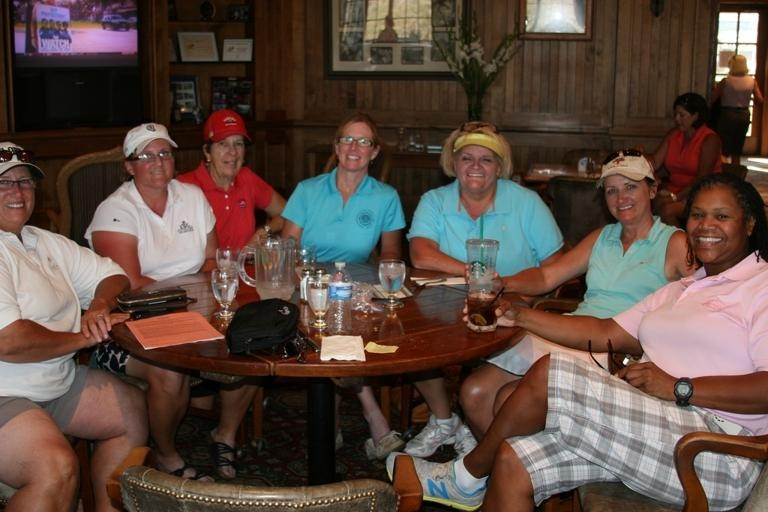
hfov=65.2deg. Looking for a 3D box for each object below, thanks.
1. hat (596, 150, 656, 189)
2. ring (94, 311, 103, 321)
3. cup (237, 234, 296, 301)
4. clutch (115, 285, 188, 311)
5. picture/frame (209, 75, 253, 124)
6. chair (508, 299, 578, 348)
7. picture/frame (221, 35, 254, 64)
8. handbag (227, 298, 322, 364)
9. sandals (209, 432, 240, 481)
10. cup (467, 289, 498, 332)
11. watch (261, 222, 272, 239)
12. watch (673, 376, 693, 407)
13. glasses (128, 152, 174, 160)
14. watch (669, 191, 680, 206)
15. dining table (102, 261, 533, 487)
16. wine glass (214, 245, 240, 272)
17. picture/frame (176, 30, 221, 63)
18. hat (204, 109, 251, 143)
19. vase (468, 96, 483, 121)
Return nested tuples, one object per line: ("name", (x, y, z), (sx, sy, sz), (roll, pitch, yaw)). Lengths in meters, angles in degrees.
("hat", (1.103, -0.402, 2.749), (0.162, 0.106, 0.218), (-6, -4, 37))
("ring", (-1.086, 0.225, 2.287), (0.025, 0.010, 0.029), (3, 20, -2))
("cup", (-0.537, 0.053, 2.523), (0.334, 0.311, 0.201), (-1, 8, -12))
("clutch", (-0.942, 0.173, 2.455), (0.211, 0.052, 0.115), (-4, 15, -21))
("picture/frame", (-1.650, -1.664, 6.596), (0.621, 0.534, 0.140), (-5, 11, -24))
("chair", (0.664, 0.288, 2.530), (0.220, 0.288, 0.181), (12, 15, 36))
("picture/frame", (-1.581, -2.229, 6.521), (0.305, 0.200, 0.295), (0, 3, 0))
("handbag", (-0.380, 0.246, 2.077), (0.258, 0.073, 0.188), (3, 26, 1))
("sandals", (-0.804, 1.002, 3.055), (0.094, 0.080, 0.265), (0, 27, -34))
("cup", (0.359, 0.199, 2.215), (0.139, 0.138, 0.131), (-1, 4, 0))
("watch", (-0.649, -0.141, 3.364), (0.073, 0.093, 0.089), (-6, 4, 5))
("watch", (1.039, 0.466, 2.083), (0.064, 0.094, 0.092), (8, -2, 20))
("glasses", (-1.161, -0.499, 3.022), (0.106, 0.027, 0.089), (-7, 2, -3))
("watch", (2.618, -0.523, 5.420), (0.076, 0.101, 0.110), (-16, 23, -2))
("dining table", (-0.098, 0.347, 2.487), (1.037, 0.616, 0.996), (0, 9, -2))
("wine glass", (-0.669, 0.007, 2.557), (0.113, 0.117, 0.107), (2, 5, -6))
("picture/frame", (-1.969, -2.199, 6.311), (0.425, 0.339, 0.033), (-5, -5, -44))
("hat", (-1.001, -0.794, 3.719), (0.199, 0.137, 0.278), (-3, 7, -28))
("vase", (0.888, -1.420, 5.811), (0.110, 0.221, 0.209), (1, 10, 3))
